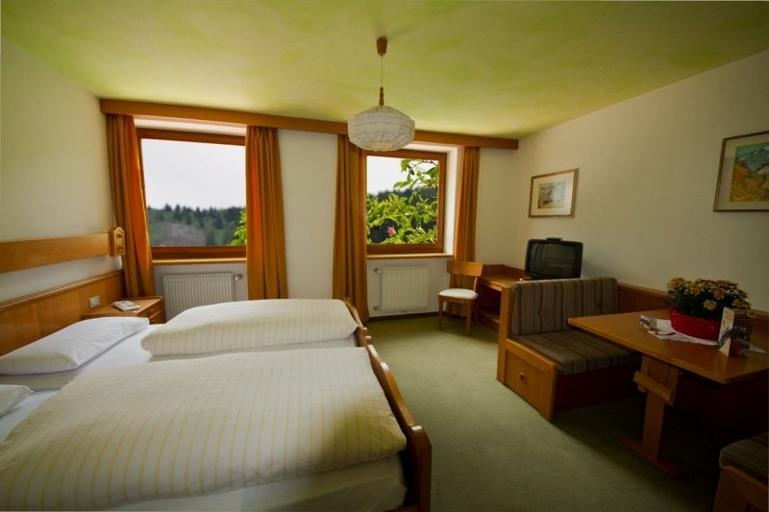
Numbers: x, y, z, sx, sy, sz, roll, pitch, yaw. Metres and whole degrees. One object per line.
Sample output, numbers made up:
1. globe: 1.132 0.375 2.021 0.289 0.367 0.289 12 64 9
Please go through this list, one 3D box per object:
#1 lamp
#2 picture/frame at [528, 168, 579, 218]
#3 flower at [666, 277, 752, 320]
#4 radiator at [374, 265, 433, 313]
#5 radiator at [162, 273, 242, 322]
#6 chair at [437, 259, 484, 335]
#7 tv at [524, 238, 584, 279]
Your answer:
1. lamp: -0.025 -1.434 4.363 0.503 0.937 0.550 6 11 43
2. picture/frame: 2.035 -0.737 5.924 0.657 0.556 0.031 -8 19 -18
3. flower: 2.625 0.280 3.924 0.427 0.234 0.411 -2 7 -21
4. radiator: 0.302 0.450 6.450 0.796 0.594 0.089 -2 7 -8
5. radiator: -2.053 0.462 5.334 0.575 0.390 0.047 0 2 -17
6. chair: 0.983 0.502 6.297 0.521 0.842 0.839 0 7 10
7. tv: 1.883 0.045 5.439 0.188 0.460 0.738 -5 8 -24
